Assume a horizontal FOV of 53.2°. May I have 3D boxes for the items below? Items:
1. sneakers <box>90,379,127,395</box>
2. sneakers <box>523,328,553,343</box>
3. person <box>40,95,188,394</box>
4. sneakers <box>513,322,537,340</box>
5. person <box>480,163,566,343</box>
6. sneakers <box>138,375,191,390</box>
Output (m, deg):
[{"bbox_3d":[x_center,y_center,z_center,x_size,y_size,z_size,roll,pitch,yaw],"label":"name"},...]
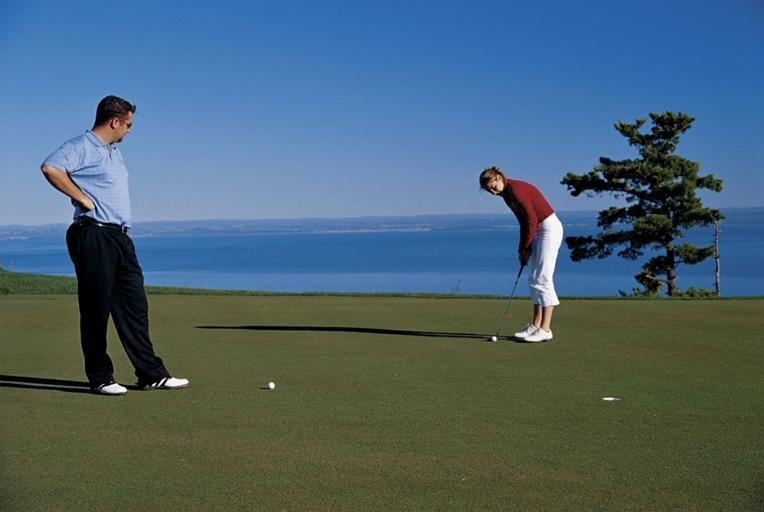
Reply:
[{"bbox_3d":[-2.321,1.123,6.512,0.266,0.076,0.120,-1,3,18],"label":"sneakers"},{"bbox_3d":[1.764,0.918,8.582,0.368,0.146,0.130,0,-5,-9],"label":"sneakers"},{"bbox_3d":[-2.382,-0.101,6.618,1.065,2.536,0.544,2,3,-22],"label":"person"},{"bbox_3d":[1.640,0.890,8.770,0.341,0.137,0.116,-3,-1,0],"label":"sneakers"},{"bbox_3d":[1.640,-0.010,8.928,0.877,1.962,0.805,4,3,10],"label":"person"},{"bbox_3d":[-1.905,1.120,6.691,0.413,0.161,0.154,-2,1,-4],"label":"sneakers"}]
